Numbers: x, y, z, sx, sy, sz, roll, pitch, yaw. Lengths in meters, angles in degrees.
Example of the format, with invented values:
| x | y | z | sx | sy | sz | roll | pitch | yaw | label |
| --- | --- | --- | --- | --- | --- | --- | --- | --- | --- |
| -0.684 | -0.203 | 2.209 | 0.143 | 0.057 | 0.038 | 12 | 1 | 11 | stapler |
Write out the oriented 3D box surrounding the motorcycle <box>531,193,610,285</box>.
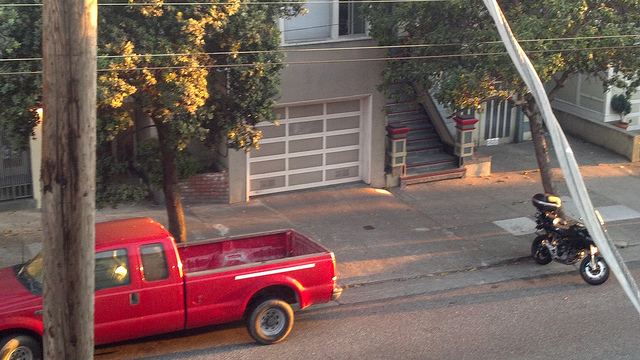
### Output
| x | y | z | sx | sy | sz | roll | pitch | yaw | label |
| --- | --- | --- | --- | --- | --- | --- | --- | --- | --- |
| 6.603 | 1.586 | 21.561 | 0.677 | 2.248 | 2.015 | -21 | 21 | -38 | motorcycle |

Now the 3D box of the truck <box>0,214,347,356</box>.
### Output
| x | y | z | sx | sy | sz | roll | pitch | yaw | label |
| --- | --- | --- | --- | --- | --- | --- | --- | --- | --- |
| -3.211 | 2.500 | 19.151 | 7.901 | 2.045 | 3.393 | -1 | 9 | -22 | truck |

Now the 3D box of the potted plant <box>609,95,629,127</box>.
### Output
| x | y | z | sx | sy | sz | roll | pitch | yaw | label |
| --- | --- | --- | --- | --- | --- | --- | --- | --- | --- |
| 11.270 | -2.585 | 30.162 | 0.365 | 1.193 | 0.578 | -16 | 18 | -24 | potted plant |
